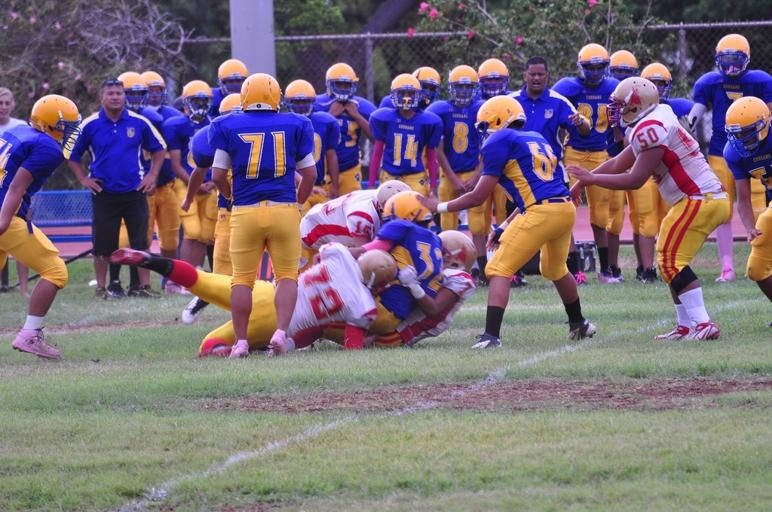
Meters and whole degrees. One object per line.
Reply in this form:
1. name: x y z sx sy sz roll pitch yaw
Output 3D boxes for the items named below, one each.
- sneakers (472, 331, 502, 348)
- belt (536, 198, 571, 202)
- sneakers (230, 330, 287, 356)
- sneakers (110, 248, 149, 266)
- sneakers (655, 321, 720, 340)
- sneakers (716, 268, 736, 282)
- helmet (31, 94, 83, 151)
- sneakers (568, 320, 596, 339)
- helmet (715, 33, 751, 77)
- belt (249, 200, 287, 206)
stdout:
1. sneakers: 0.991 0.849 12.279 0.299 0.141 0.411 -1 2 5
2. belt: 1.680 -0.544 12.343 0.354 0.072 0.092 -2 2 -31
3. sneakers: -1.271 0.863 12.245 0.568 0.265 0.260 -1 2 -1
4. sneakers: -2.548 0.025 12.259 0.344 0.167 0.143 4 2 -11
5. sneakers: 3.004 0.758 12.155 0.691 0.257 0.220 -1 -6 11
6. sneakers: 4.230 0.259 15.375 0.239 0.145 0.555 0 2 14
7. helmet: -3.439 -1.412 12.912 0.600 0.500 0.445 8 18 2
8. sneakers: 2.008 0.757 12.609 0.364 0.137 0.121 -11 11 -31
9. helmet: 4.411 -2.531 15.584 0.392 0.462 0.522 7 21 30
10. belt: -1.148 -0.505 12.197 0.336 0.053 0.039 -1 2 -10
